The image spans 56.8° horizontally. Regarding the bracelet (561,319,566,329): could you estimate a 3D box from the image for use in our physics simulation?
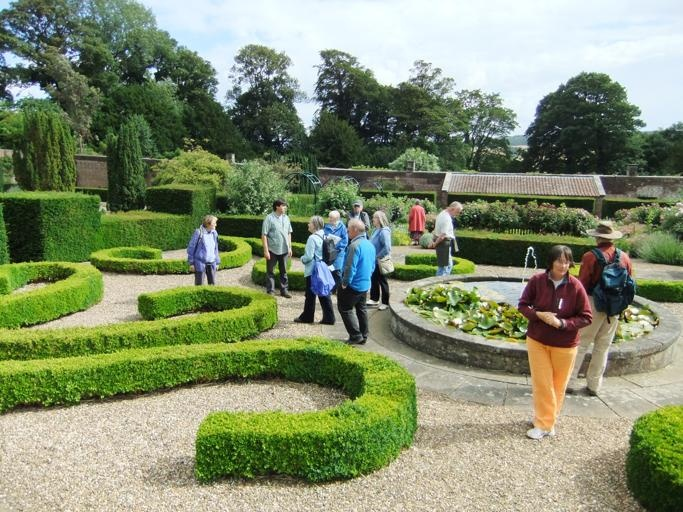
[{"bbox_3d":[2.689,0.820,7.634,0.081,0.098,0.071,5,9,18],"label":"bracelet"}]

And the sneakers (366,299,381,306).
[{"bbox_3d":[0.615,0.902,12.174,0.257,0.118,0.103,2,5,-5],"label":"sneakers"}]

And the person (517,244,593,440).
[{"bbox_3d":[2.602,1.067,7.810,0.835,2.397,0.462,5,9,17],"label":"person"}]

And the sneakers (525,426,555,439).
[{"bbox_3d":[2.490,2.195,7.862,0.298,0.140,0.143,2,1,-6],"label":"sneakers"}]

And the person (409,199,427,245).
[{"bbox_3d":[2.574,-1.144,21.503,0.520,1.491,1.191,3,9,5],"label":"person"}]

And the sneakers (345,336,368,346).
[{"bbox_3d":[0.247,1.367,10.171,0.306,0.145,0.137,4,5,-1],"label":"sneakers"}]

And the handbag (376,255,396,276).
[{"bbox_3d":[0.831,0.197,12.059,0.345,0.363,0.203,-26,10,-14],"label":"handbag"}]

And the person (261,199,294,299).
[{"bbox_3d":[-1.315,-0.173,13.013,0.583,1.986,0.970,1,9,-5],"label":"person"}]

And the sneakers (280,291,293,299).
[{"bbox_3d":[-1.149,0.800,12.972,0.265,0.121,0.099,3,6,22],"label":"sneakers"}]

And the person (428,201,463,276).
[{"bbox_3d":[2.209,-0.342,13.313,0.517,1.648,1.471,3,9,10],"label":"person"}]

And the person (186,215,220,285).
[{"bbox_3d":[-2.646,-0.103,12.069,0.558,1.372,0.616,0,9,-14],"label":"person"}]

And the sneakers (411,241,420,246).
[{"bbox_3d":[2.529,-0.419,21.588,0.179,0.305,0.130,-5,-1,18],"label":"sneakers"}]

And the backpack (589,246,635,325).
[{"bbox_3d":[3.629,0.338,8.472,0.533,0.826,0.469,-11,16,-11],"label":"backpack"}]
